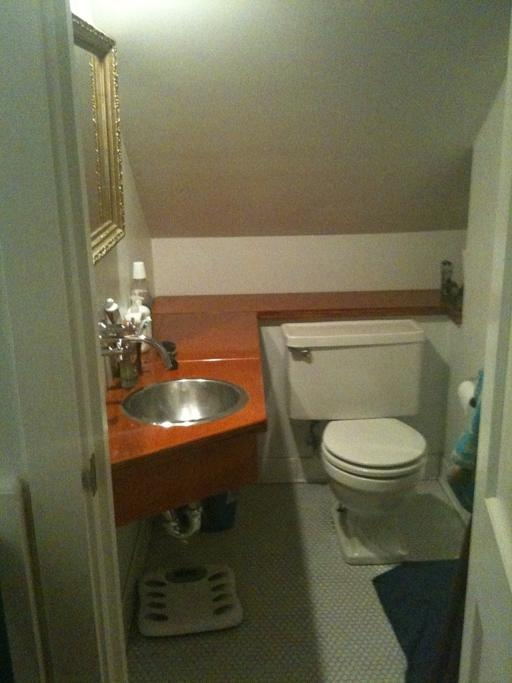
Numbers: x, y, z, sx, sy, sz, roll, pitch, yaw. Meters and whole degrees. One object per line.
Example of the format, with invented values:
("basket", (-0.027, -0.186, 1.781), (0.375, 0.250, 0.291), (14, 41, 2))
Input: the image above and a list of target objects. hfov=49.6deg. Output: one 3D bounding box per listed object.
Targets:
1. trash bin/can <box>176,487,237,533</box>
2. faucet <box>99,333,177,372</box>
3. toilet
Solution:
("trash bin/can", (-0.187, 0.636, 2.157), (0.225, 0.184, 0.251), (-1, 29, 1))
("faucet", (-0.346, 0.037, 1.606), (0.267, 0.100, 0.033), (8, 37, 4))
("toilet", (0.406, 0.377, 2.197), (0.566, 0.765, 0.818), (-2, 15, 3))
